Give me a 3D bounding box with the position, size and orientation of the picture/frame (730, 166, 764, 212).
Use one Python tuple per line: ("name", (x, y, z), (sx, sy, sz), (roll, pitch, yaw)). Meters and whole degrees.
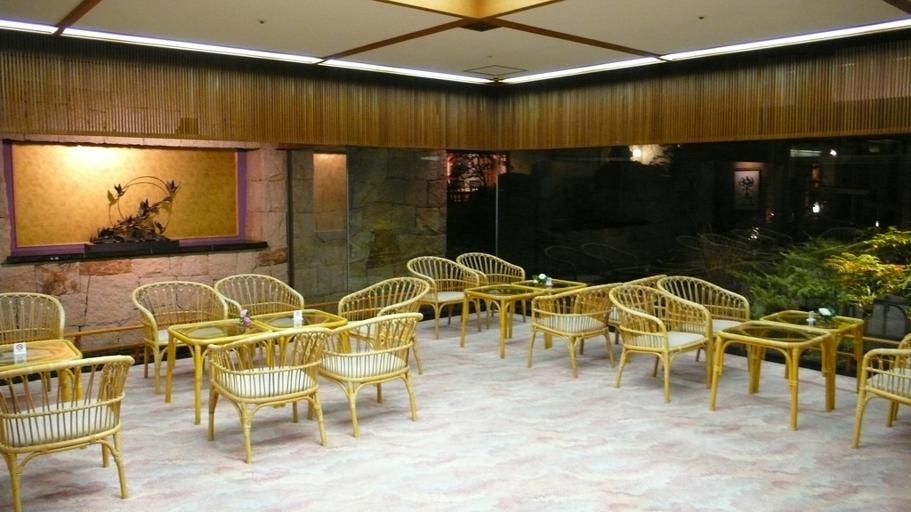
("picture/frame", (4.310, -0.983, 8.478), (0.082, 0.665, 0.454), (-8, 10, -26))
